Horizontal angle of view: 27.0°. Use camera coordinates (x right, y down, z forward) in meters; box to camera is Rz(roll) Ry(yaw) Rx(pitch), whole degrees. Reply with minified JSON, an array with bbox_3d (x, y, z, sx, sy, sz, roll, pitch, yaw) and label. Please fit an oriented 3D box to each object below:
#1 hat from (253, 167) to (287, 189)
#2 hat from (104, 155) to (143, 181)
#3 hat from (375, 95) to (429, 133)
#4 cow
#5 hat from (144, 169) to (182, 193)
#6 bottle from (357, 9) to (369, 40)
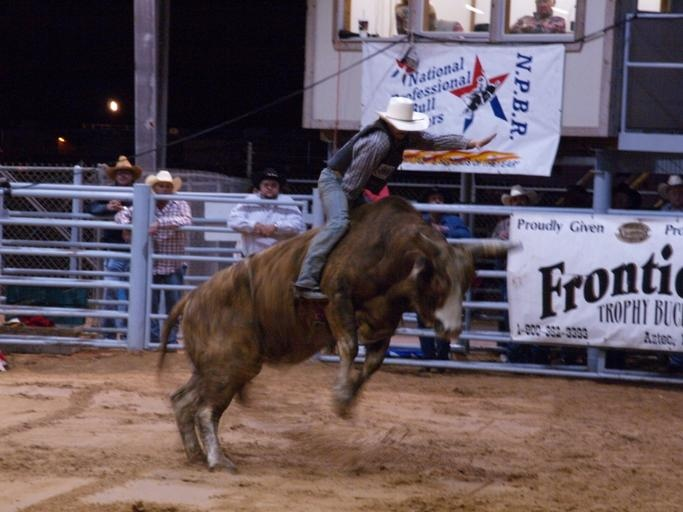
[{"bbox_3d":[-1.149,-1.319,22.560,0.583,0.251,0.639,2,-26,-6],"label":"hat"},{"bbox_3d":[-3.708,-1.494,24.362,0.807,0.372,0.978,-4,-12,-11],"label":"hat"},{"bbox_3d":[0.815,-1.901,18.663,0.669,0.289,0.826,-1,15,-25],"label":"hat"},{"bbox_3d":[-0.119,1.057,18.452,5.025,3.058,1.499,-12,-20,24],"label":"cow"},{"bbox_3d":[-2.928,-1.211,23.344,0.483,0.198,0.503,2,-11,-12],"label":"hat"},{"bbox_3d":[0.366,-3.877,23.698,0.186,0.440,0.051,2,-1,2],"label":"bottle"}]
